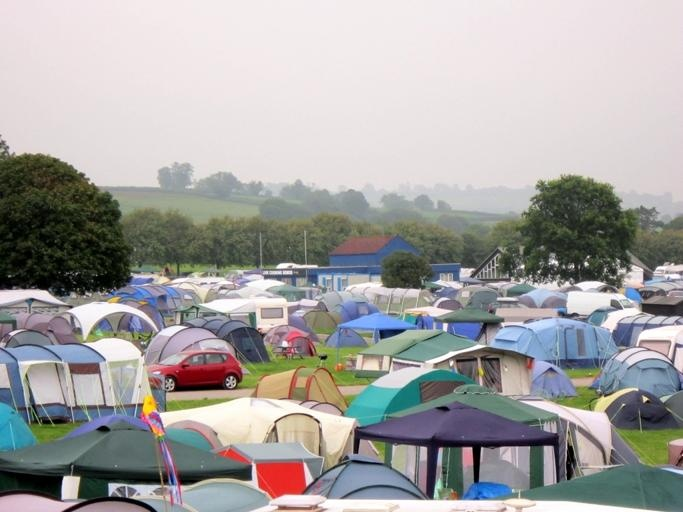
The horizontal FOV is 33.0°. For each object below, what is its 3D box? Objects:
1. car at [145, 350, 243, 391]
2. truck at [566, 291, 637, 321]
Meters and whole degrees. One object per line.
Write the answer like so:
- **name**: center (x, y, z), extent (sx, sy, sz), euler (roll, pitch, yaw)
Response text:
- **car**: center (-5.153, 4.178, 41.594), extent (2.407, 1.070, 1.527), euler (4, -6, -17)
- **truck**: center (13.517, 2.746, 60.024), extent (3.319, 1.492, 1.675), euler (-1, 2, 20)
